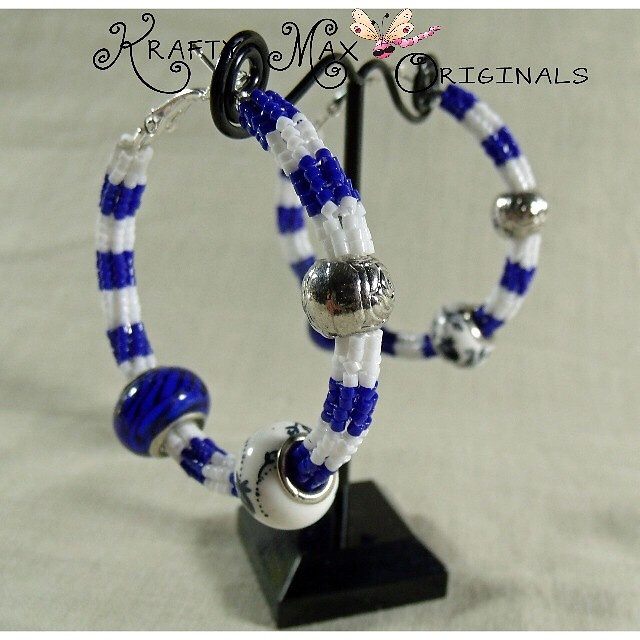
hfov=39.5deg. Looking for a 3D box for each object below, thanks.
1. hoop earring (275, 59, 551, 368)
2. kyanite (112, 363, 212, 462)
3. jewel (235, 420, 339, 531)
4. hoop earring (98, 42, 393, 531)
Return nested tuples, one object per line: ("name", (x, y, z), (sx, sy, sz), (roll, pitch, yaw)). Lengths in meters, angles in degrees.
("hoop earring", (0.110, -0.161, 1.264), (0.405, 0.510, 0.088), (19, 31, 41))
("kyanite", (-0.220, 0.093, 1.242), (0.094, 0.130, 0.111), (33, 43, 33))
("jewel", (-0.060, 0.210, 1.212), (0.114, 0.092, 0.145), (-13, 77, -11))
("hoop earring", (-0.133, 0.031, 1.206), (0.508, 0.689, 0.261), (24, 44, 33))
